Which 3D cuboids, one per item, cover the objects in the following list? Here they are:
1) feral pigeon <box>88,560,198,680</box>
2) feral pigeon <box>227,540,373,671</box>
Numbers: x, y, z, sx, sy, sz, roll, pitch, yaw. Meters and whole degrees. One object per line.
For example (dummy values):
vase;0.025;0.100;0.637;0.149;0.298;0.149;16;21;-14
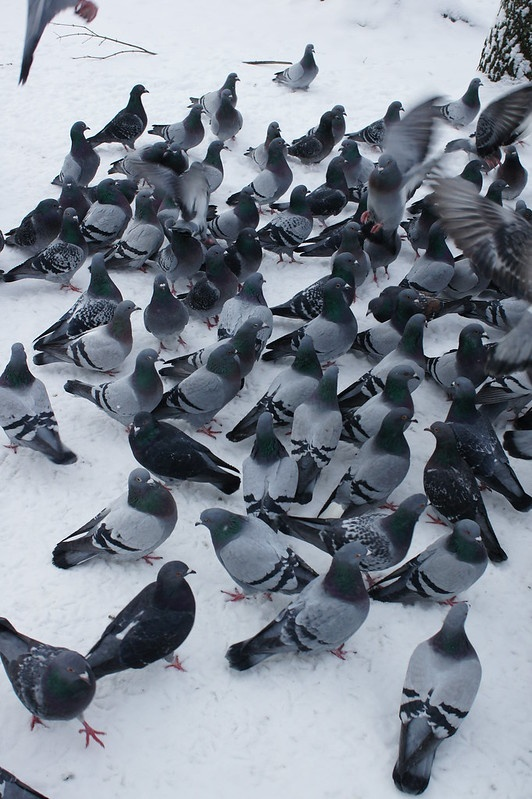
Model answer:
feral pigeon;-0.706;1.284;4.871;0.780;0.467;0.299;-25;46;-34
feral pigeon;0.176;1.204;4.920;0.913;0.654;0.418;-12;25;1
